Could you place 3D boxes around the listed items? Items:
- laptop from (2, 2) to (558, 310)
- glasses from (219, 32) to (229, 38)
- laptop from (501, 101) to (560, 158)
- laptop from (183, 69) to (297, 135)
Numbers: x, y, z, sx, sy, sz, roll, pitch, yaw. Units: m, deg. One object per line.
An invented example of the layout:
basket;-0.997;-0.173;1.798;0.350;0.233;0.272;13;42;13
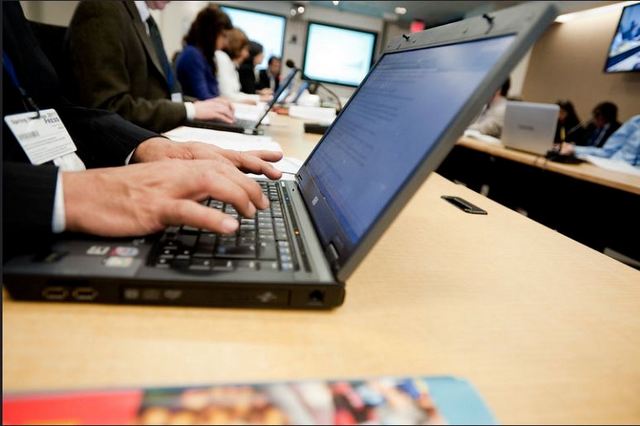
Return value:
laptop;-0.075;-0.065;0.650;0.543;0.326;0.525;6;15;-8
glasses;-0.672;-1.266;3.017;0.045;0.016;0.060;-42;23;-25
laptop;1.225;-0.480;2.471;0.250;0.252;0.351;-1;20;-25
laptop;-0.316;-0.372;1.672;0.328;0.204;0.340;5;17;-4
